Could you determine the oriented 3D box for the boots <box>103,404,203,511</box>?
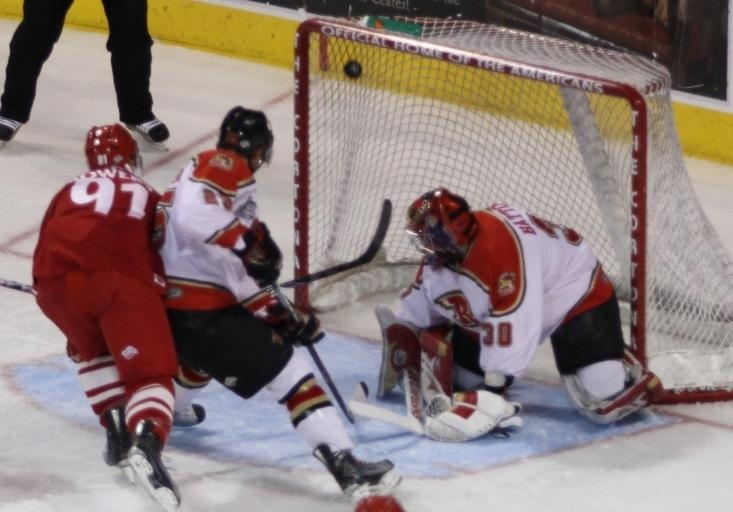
[{"bbox_3d":[-0.807,0.755,3.643,0.117,0.329,0.216,-32,27,9],"label":"boots"}]

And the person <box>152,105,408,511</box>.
[{"bbox_3d":[-0.349,0.266,4.242,0.816,1.417,1.407,-16,31,-38],"label":"person"}]

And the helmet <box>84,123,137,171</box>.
[{"bbox_3d":[-1.013,-0.420,3.963,0.217,0.187,0.165,-6,-14,-15],"label":"helmet"}]

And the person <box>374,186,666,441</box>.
[{"bbox_3d":[0.616,0.195,4.344,1.353,0.959,0.847,0,19,35],"label":"person"}]

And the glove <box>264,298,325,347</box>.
[{"bbox_3d":[-0.299,0.274,3.935,0.216,0.097,0.175,37,6,-33],"label":"glove"}]

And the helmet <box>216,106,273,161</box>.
[{"bbox_3d":[-0.469,-0.493,3.883,0.185,0.207,0.231,17,15,11],"label":"helmet"}]

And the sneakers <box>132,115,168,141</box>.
[{"bbox_3d":[-1.338,-0.778,6.164,0.238,0.099,0.119,28,53,18],"label":"sneakers"}]

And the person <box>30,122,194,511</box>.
[{"bbox_3d":[-1.049,0.233,3.684,0.561,1.310,0.517,1,-19,-28],"label":"person"}]

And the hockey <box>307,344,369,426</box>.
[{"bbox_3d":[-0.129,0.560,4.217,0.060,0.411,0.046,-34,7,12],"label":"hockey"}]

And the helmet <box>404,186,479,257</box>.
[{"bbox_3d":[0.336,-0.155,4.080,0.310,0.285,0.232,7,55,19],"label":"helmet"}]
